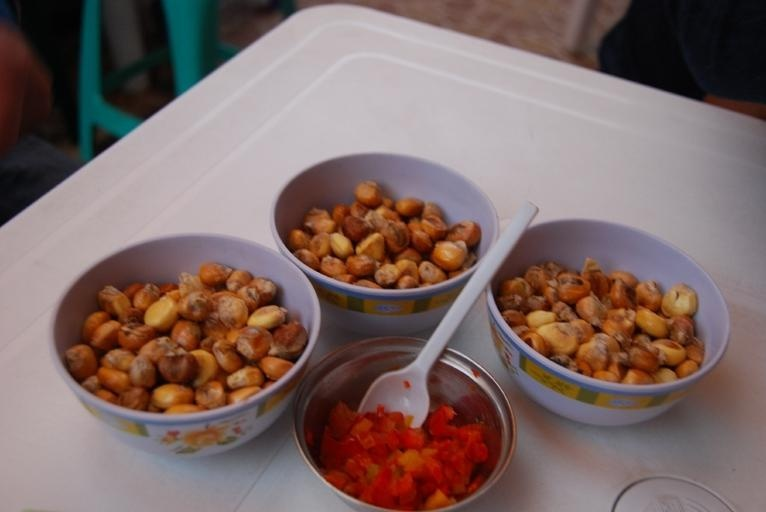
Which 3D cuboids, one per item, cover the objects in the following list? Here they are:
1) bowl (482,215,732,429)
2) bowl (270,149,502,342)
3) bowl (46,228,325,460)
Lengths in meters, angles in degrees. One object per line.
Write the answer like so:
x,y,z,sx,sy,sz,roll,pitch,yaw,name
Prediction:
0.407,0.094,1.228,0.417,0.360,0.413,0,90,-6,bowl
-0.006,-0.068,1.225,0.377,0.188,0.388,4,40,-3,bowl
-0.336,0.142,1.069,0.447,0.125,0.372,-2,54,-7,bowl
